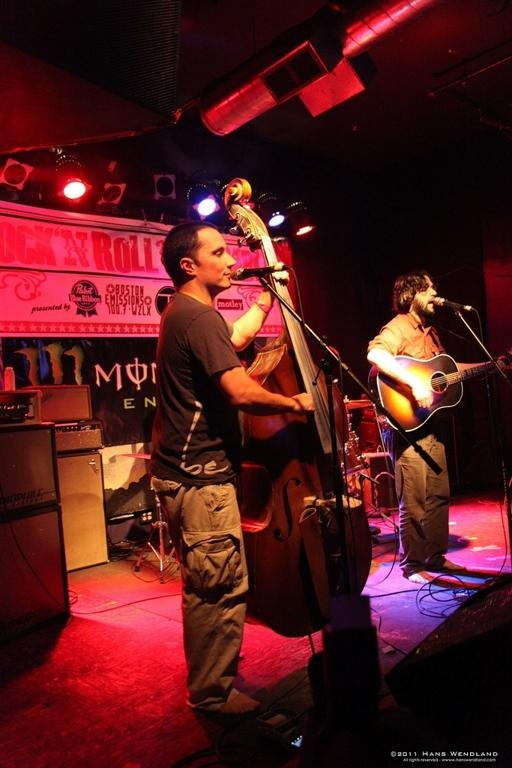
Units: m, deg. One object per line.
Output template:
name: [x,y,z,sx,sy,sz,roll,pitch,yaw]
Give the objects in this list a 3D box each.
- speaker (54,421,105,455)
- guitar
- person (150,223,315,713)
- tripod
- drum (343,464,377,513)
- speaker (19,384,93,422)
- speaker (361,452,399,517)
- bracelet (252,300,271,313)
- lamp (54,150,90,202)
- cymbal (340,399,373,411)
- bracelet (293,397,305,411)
speaker: [-1.262,0.382,3.995,0.333,0.194,0.200,0,1,-41]
guitar: [1.040,0.021,3.260,0.702,0.382,0.349,-4,-3,-16]
person: [-0.134,0.274,1.969,0.346,1.726,0.505,-2,-4,-41]
tripod: [-0.720,1.048,4.053,0.308,0.567,0.287,-3,-30,-13]
drum: [0.804,0.709,4.078,0.132,0.392,0.205,-25,-27,14]
speaker: [-1.366,0.145,3.977,0.163,0.274,0.461,-6,-3,18]
speaker: [1.184,0.912,5.222,0.386,0.661,0.242,8,-21,2]
bracelet: [0.025,-0.328,2.394,0.061,0.022,0.047,30,18,-9]
lamp: [-1.403,-1.607,4.287,0.227,0.300,0.258,-4,-3,-15]
cymbal: [0.810,0.167,4.456,0.185,0.106,0.211,-6,-7,10]
bracelet: [0.146,0.069,1.903,0.026,0.050,0.017,-30,11,-35]
